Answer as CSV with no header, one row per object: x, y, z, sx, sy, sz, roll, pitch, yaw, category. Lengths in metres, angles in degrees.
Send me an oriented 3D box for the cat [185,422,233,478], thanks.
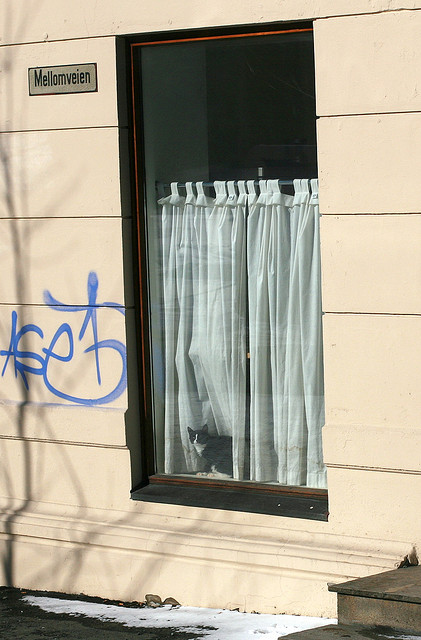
0.071,0.699,5.703,0.361,0.313,0.121,-6,-16,14,cat
